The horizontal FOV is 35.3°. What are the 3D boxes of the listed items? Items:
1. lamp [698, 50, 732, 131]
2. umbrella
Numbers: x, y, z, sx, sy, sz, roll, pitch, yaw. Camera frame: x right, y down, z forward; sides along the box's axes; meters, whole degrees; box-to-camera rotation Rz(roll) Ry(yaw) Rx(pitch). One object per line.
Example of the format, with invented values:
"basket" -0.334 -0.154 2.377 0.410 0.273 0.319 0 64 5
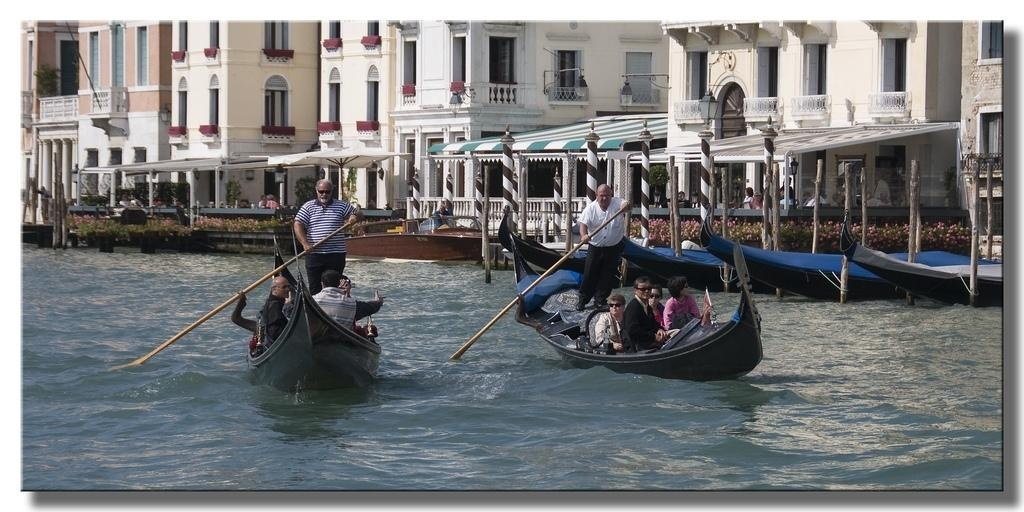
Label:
"lamp" 7.629 -6.296 62.173 1.292 4.007 1.346 7 -3 -8
"umbrella" -7.003 -3.773 66.419 4.043 1.024 3.553 -6 11 -11
